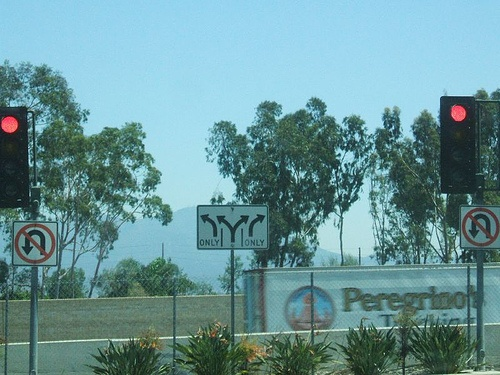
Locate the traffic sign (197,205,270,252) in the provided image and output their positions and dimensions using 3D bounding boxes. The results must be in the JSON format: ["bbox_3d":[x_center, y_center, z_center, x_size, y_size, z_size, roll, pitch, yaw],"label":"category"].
[{"bbox_3d":[-0.621,1.404,41.022,2.498,1.580,0.330,-1,-8,0],"label":"traffic sign"}]

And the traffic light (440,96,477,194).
[{"bbox_3d":[7.278,-1.479,40.976,1.224,3.350,0.549,-1,-8,3],"label":"traffic light"}]
